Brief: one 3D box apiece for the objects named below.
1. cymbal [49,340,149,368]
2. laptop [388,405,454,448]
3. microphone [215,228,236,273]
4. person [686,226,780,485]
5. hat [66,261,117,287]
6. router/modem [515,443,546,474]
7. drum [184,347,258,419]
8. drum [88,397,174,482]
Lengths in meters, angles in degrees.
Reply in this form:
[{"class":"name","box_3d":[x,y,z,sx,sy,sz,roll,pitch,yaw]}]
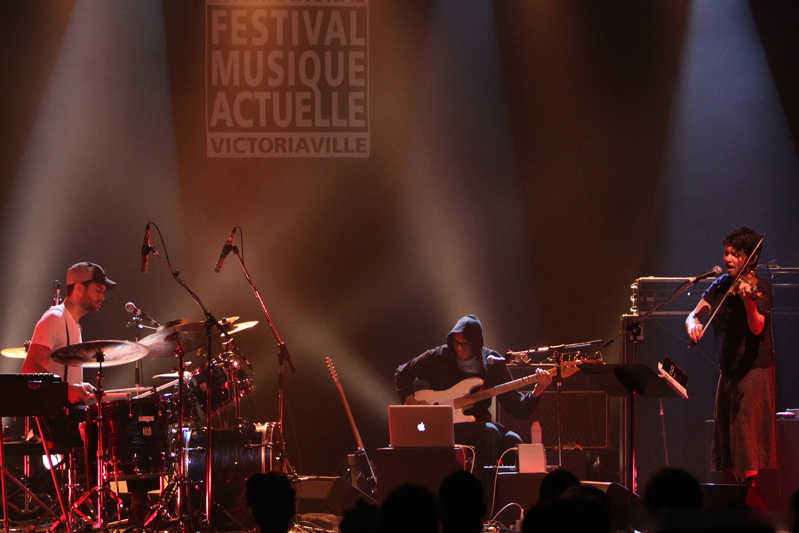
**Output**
[{"class":"cymbal","box_3d":[-2.888,0.858,7.688,0.877,0.259,0.633,-3,-9,-10]},{"class":"laptop","box_3d":[0.205,1.494,7.667,0.692,0.467,0.570,-4,-29,6]},{"class":"microphone","box_3d":[-2.086,-0.184,9.559,0.141,0.545,0.140,20,8,-44]},{"class":"person","box_3d":[3.160,0.828,7.479,0.698,2.360,0.566,-8,-9,26]},{"class":"hat","box_3d":[-3.306,0.099,8.532,0.501,0.301,0.373,-1,0,-13]},{"class":"router/modem","box_3d":[1.368,2.013,8.291,0.257,0.295,0.277,0,-6,0]},{"class":"drum","box_3d":[-1.919,1.230,8.375,0.467,0.440,0.694,-8,2,18]},{"class":"drum","box_3d":[-2.809,1.694,8.166,0.740,0.864,0.798,2,5,21]}]
